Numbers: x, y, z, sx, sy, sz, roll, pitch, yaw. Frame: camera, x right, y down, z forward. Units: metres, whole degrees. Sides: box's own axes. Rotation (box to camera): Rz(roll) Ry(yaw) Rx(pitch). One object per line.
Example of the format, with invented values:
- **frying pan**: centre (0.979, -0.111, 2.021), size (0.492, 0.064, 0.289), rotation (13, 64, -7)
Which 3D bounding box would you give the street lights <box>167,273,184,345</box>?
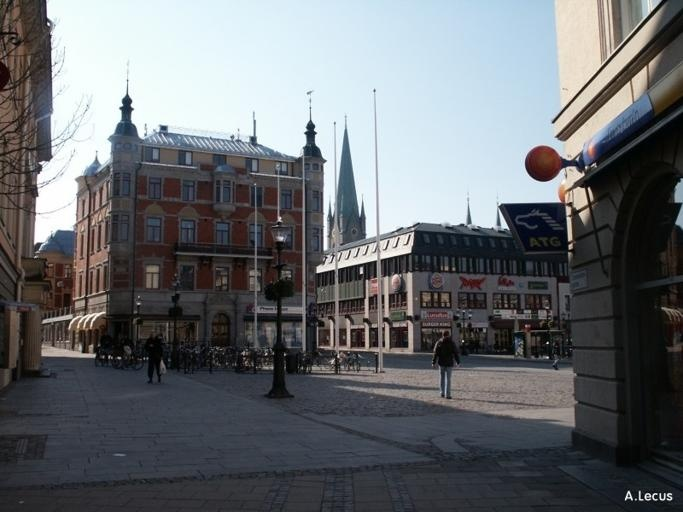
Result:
- **street lights**: centre (-8.234, 2.788, 36.979), size (0.636, 3.572, 0.655), rotation (1, 3, -5)
